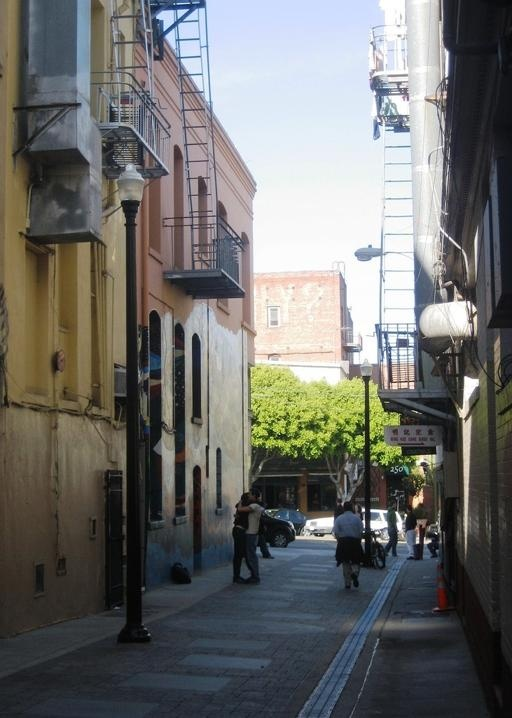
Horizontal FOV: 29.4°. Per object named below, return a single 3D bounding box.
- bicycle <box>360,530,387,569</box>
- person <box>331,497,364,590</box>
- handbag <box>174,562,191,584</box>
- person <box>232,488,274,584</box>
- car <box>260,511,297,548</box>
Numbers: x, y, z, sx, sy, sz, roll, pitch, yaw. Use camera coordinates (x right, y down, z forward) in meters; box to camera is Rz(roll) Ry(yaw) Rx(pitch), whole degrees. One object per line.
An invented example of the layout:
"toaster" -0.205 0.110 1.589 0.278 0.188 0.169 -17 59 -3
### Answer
"bicycle" 2.998 4.871 25.716 0.702 1.536 1.915 -2 -10 6
"person" 1.793 3.728 19.517 0.558 1.640 2.461 -1 -5 4
"handbag" -1.475 4.229 19.243 0.340 0.375 0.702 -1 -6 -5
"person" -0.200 3.575 19.634 0.569 1.771 1.223 -1 -4 -2
"car" 0.682 5.928 34.142 1.389 1.447 1.121 -2 -1 -5
